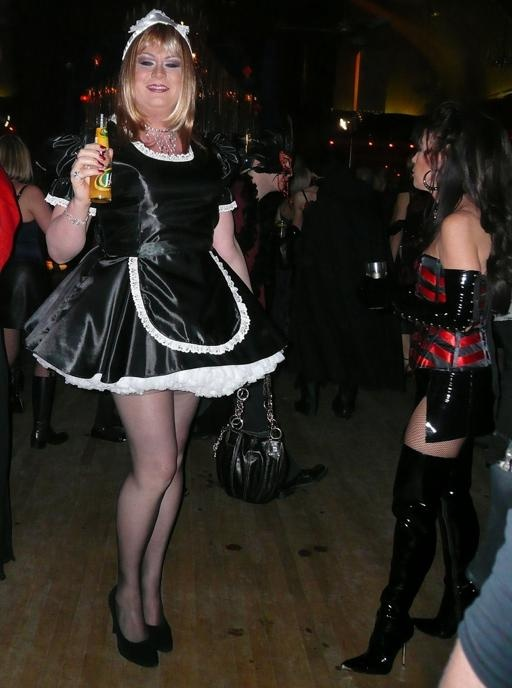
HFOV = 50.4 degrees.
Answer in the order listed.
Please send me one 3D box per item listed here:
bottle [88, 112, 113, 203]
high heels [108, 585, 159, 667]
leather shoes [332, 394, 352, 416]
[{"bbox_3d":[-0.427,-0.512,1.489,0.055,0.240,0.222,-1,11,-15],"label":"bottle"},{"bbox_3d":[-0.411,0.956,1.787,0.117,0.288,0.057,-5,-20,-41],"label":"high heels"},{"bbox_3d":[0.673,0.478,4.232,0.156,0.218,0.120,2,41,8],"label":"leather shoes"}]
